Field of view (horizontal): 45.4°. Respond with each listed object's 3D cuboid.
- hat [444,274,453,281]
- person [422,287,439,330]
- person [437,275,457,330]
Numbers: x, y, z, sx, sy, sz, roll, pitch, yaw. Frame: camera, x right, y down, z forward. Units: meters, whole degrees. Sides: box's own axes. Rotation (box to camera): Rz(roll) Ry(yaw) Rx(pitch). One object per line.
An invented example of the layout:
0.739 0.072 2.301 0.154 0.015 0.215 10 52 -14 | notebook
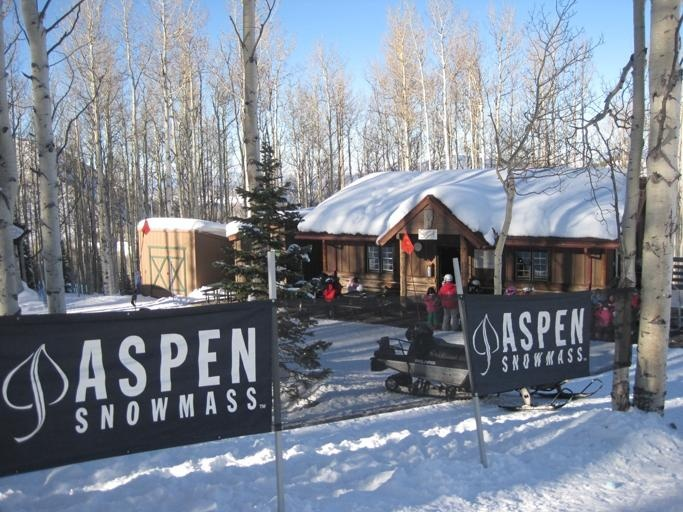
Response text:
3.261 0.671 25.173 0.193 0.275 0.269 9 14 42 | hat
2.770 1.582 24.817 0.320 1.097 0.728 -5 12 -21 | person
3.210 1.309 24.279 0.522 1.889 0.524 1 21 10 | person
